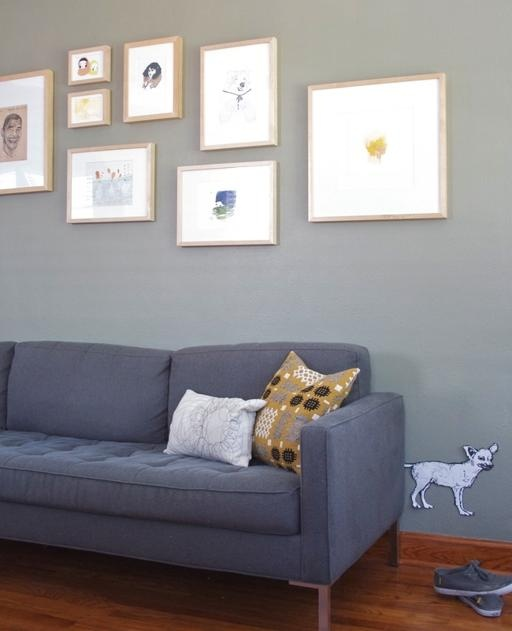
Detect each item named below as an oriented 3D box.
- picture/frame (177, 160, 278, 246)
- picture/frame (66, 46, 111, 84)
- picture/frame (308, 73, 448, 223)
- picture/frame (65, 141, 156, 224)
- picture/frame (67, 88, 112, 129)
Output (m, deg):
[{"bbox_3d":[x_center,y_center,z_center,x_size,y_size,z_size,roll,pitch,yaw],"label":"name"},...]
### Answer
[{"bbox_3d":[-0.106,-0.499,2.670,0.421,0.299,0.041,1,2,18],"label":"picture/frame"},{"bbox_3d":[-0.792,-1.206,2.918,0.211,0.146,0.028,2,2,21],"label":"picture/frame"},{"bbox_3d":[0.514,-0.678,2.444,0.682,0.643,0.026,-1,-1,15],"label":"picture/frame"},{"bbox_3d":[-0.666,-0.633,2.870,0.439,0.326,0.019,1,-1,17],"label":"picture/frame"},{"bbox_3d":[-0.790,-0.995,2.916,0.222,0.153,0.025,2,-2,24],"label":"picture/frame"}]
